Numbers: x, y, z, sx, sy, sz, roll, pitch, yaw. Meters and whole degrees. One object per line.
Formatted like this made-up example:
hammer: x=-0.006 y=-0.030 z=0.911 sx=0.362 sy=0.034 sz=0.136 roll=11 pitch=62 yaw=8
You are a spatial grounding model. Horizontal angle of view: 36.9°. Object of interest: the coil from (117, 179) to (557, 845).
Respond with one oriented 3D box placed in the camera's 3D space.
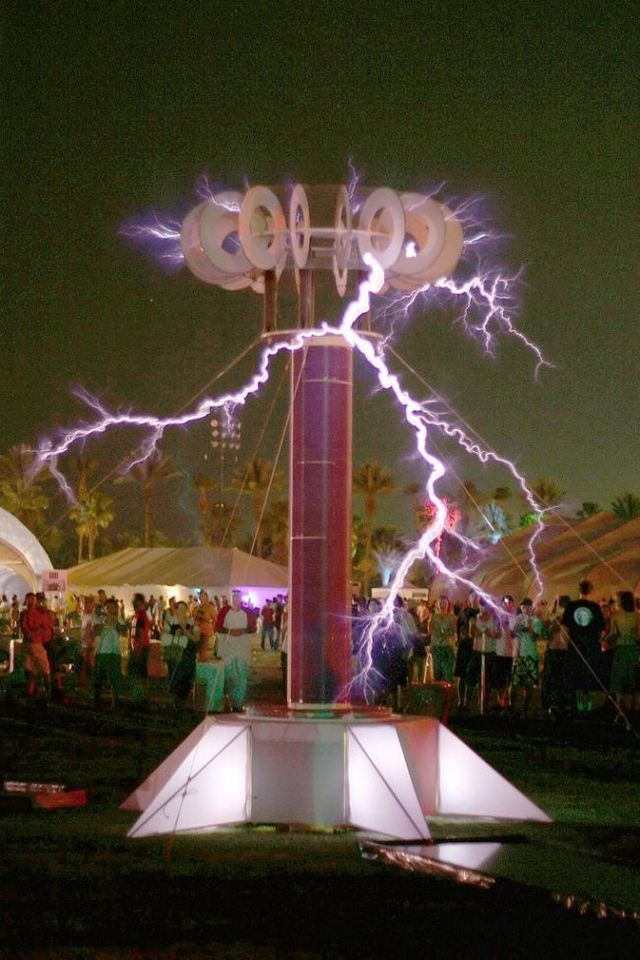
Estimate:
coil: x=-0.084 y=0.370 z=6.472 sx=1.778 sy=6.019 sz=2.307 roll=-6 pitch=-3 yaw=42
